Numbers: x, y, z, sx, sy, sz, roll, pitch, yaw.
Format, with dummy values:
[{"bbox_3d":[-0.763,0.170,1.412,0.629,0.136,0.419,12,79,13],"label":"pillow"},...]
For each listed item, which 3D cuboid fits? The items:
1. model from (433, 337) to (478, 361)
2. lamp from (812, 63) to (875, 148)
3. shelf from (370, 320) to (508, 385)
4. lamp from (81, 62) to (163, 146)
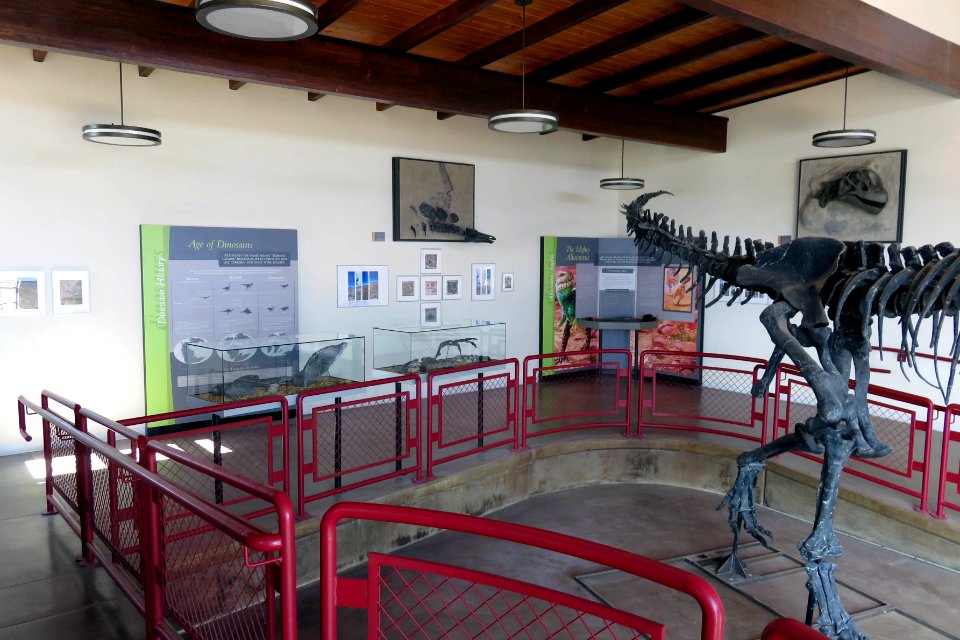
[{"bbox_3d":[-0.305,0.383,8.451,0.570,0.328,0.292,-2,5,-31],"label":"model"},{"bbox_3d":[4.761,-2.752,8.062,0.792,0.792,0.771,-14,18,-37],"label":"lamp"},{"bbox_3d":[-0.405,0.470,8.569,2.107,0.595,0.783,-4,-13,29],"label":"shelf"},{"bbox_3d":[-4.024,-2.442,7.033,0.857,0.826,0.837,4,6,24],"label":"lamp"}]
